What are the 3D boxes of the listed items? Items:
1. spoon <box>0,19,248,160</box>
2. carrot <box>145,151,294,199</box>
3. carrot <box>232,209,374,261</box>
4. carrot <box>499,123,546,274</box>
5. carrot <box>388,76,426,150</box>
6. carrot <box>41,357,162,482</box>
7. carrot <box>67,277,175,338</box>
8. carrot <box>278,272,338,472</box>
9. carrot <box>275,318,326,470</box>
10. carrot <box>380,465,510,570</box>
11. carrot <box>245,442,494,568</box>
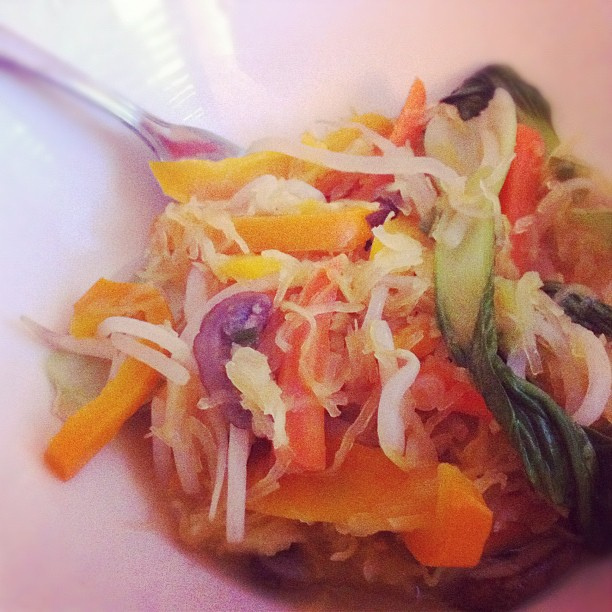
[{"bbox_3d":[-0.209,-0.242,0.924,0.343,0.056,0.046,23,2,-20],"label":"spoon"},{"bbox_3d":[-0.084,-0.143,0.905,0.185,0.037,0.036,-6,-4,-25],"label":"carrot"},{"bbox_3d":[0.000,-0.074,0.850,0.103,0.067,0.025,23,48,-25],"label":"carrot"},{"bbox_3d":[0.224,-0.138,0.877,0.040,0.095,0.069,7,25,13],"label":"carrot"},{"bbox_3d":[0.109,-0.204,0.886,0.028,0.071,0.060,12,26,21],"label":"carrot"},{"bbox_3d":[-0.202,0.111,0.841,0.116,0.112,0.038,-18,32,-36],"label":"carrot"},{"bbox_3d":[-0.192,-0.003,0.874,0.095,0.067,0.019,0,-20,6],"label":"carrot"},{"bbox_3d":[0.009,0.066,0.813,0.059,0.178,0.054,8,-3,24],"label":"carrot"},{"bbox_3d":[-0.006,0.086,0.816,0.047,0.133,0.081,0,25,-3],"label":"carrot"},{"bbox_3d":[0.137,0.207,0.795,0.112,0.103,0.058,-6,26,-16],"label":"carrot"},{"bbox_3d":[0.034,0.197,0.834,0.316,0.076,0.133,7,-25,-2],"label":"carrot"}]
